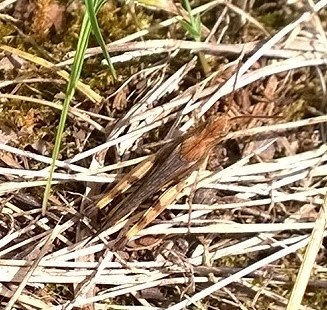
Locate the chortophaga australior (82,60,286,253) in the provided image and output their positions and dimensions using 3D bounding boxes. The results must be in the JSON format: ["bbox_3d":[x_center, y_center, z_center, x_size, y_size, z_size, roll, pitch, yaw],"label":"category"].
[{"bbox_3d":[0.046,0.012,0.807,0.538,0.152,0.172,-34,82,8],"label":"chortophaga australior"}]
